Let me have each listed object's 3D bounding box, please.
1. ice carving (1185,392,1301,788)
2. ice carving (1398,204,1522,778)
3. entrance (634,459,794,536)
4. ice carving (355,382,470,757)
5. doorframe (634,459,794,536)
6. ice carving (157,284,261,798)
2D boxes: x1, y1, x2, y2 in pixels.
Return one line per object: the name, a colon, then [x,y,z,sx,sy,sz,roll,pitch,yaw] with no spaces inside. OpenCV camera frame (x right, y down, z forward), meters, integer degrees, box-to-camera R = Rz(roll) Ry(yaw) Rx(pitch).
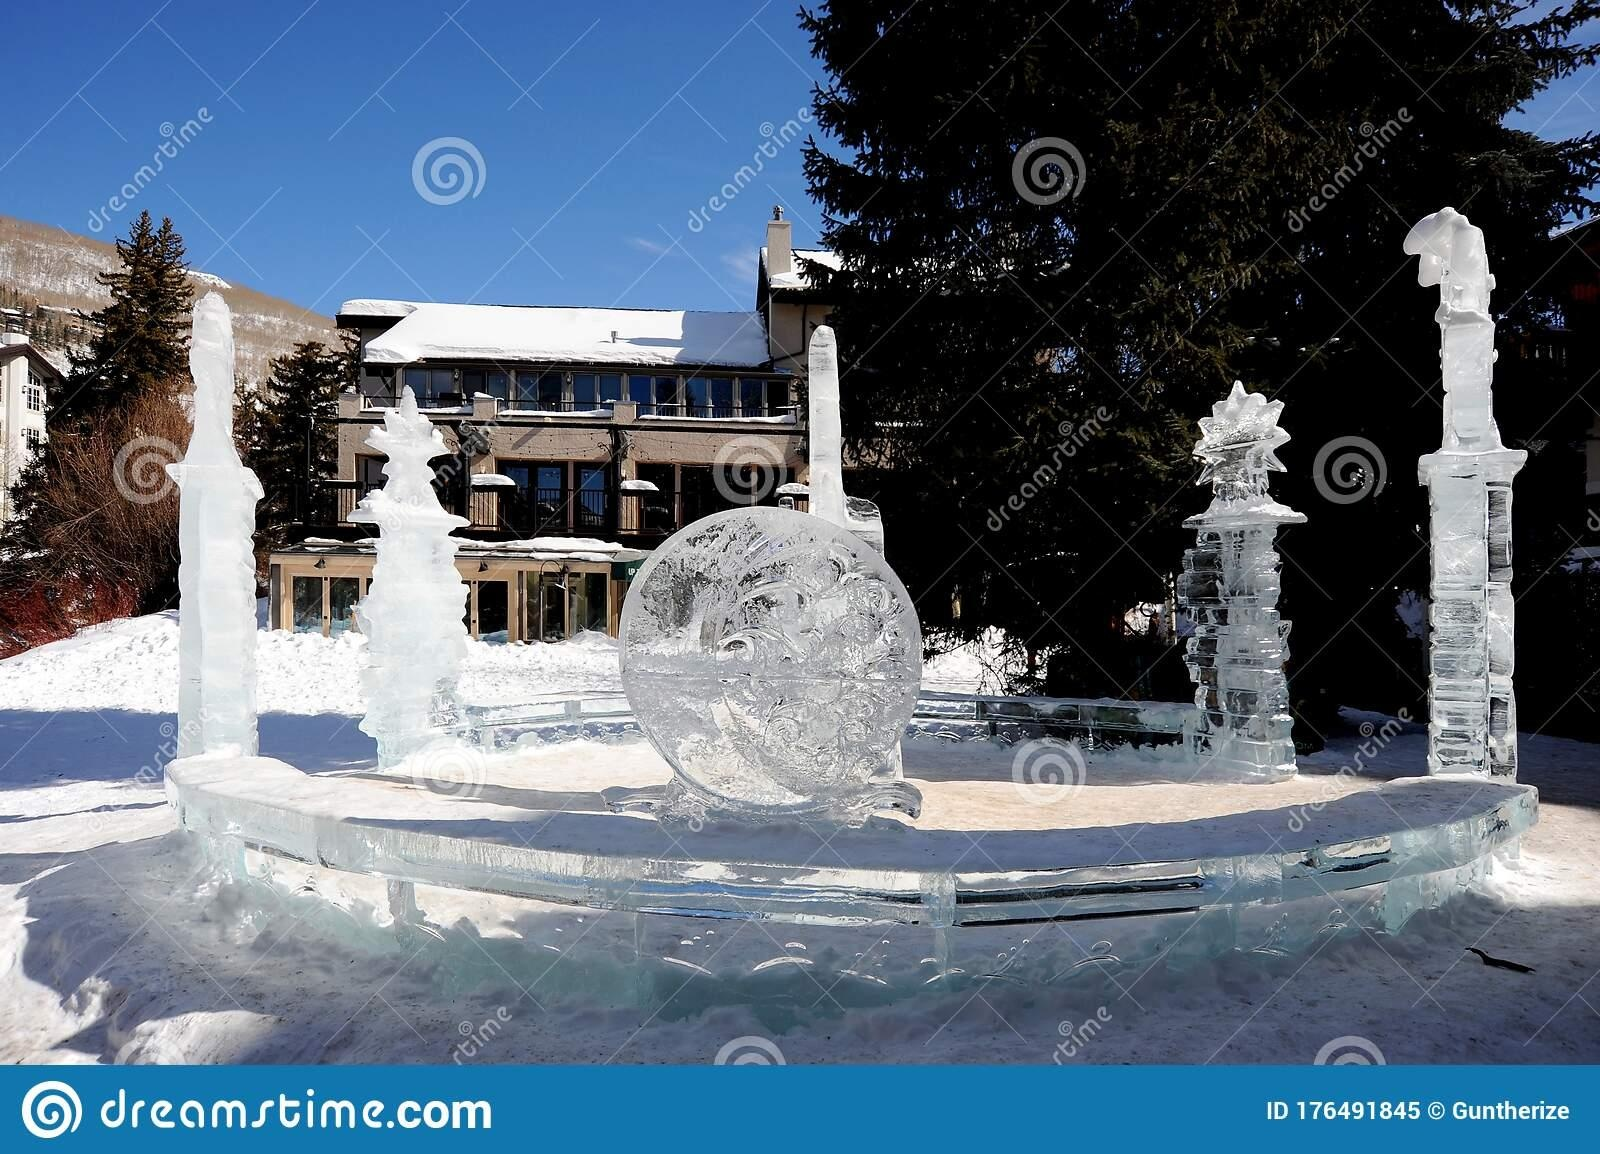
ice carving: [5.314,0.035,18.691,1.387,4.635,0.675,2,3,44]
ice carving: [6.988,-0.891,16.161,1.028,5.870,0.692,1,2,21]
entrance: [-1.965,-1.849,35.882,2.458,1.368,0.106,-1,-3,1]
ice carving: [-4.739,-0.006,18.926,1.267,4.508,0.578,-1,3,-44]
doorframe: [-1.965,-1.849,35.882,2.458,1.368,0.106,-1,-3,1]
ice carving: [-6.140,-0.554,16.350,0.855,4.833,0.446,0,2,-19]
